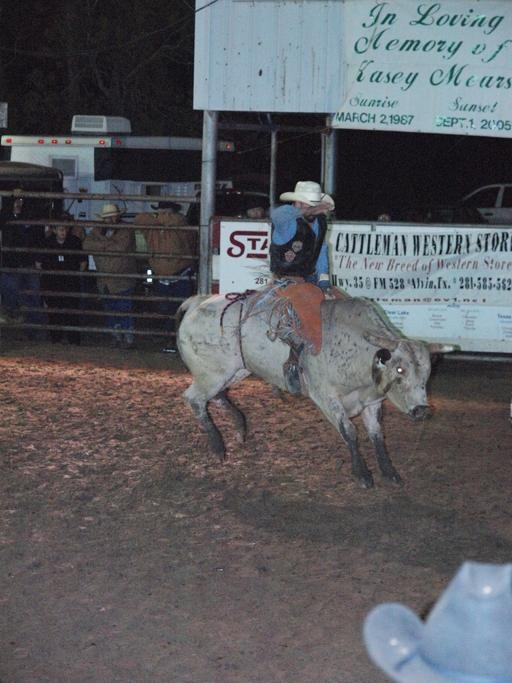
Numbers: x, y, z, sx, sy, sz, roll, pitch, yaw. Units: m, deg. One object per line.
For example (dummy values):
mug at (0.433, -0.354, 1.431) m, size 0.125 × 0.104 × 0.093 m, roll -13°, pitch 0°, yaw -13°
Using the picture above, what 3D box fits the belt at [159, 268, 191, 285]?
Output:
belt at (-1.057, -0.884, 10.190) m, size 0.324 × 0.077 × 0.317 m, roll -9°, pitch -6°, yaw 17°

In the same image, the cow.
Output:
cow at (0.316, 0.243, 5.357) m, size 2.149 × 1.267 × 0.560 m, roll 10°, pitch 13°, yaw 42°

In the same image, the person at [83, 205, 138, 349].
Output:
person at (-1.940, -0.882, 10.423) m, size 0.670 × 1.863 × 1.248 m, roll 0°, pitch 10°, yaw -9°

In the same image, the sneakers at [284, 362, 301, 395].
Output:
sneakers at (0.251, 0.240, 5.401) m, size 0.131 × 0.193 × 0.068 m, roll 1°, pitch 18°, yaw 25°

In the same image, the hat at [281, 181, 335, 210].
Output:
hat at (0.374, -1.036, 5.494) m, size 0.343 × 0.121 × 0.303 m, roll 13°, pitch 11°, yaw 31°

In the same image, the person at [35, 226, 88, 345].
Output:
person at (-2.604, -0.817, 10.631) m, size 0.621 × 1.619 × 0.911 m, roll -1°, pitch 11°, yaw -14°
